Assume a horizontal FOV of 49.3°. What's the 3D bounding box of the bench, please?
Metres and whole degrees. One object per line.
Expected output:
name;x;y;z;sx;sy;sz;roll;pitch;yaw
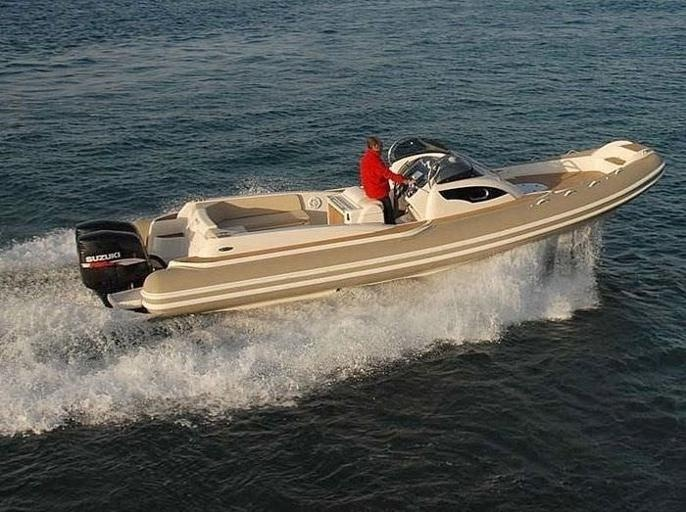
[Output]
bench;-1.659;-0.859;15.131;2.344;0.542;0.602;-6;62;24
